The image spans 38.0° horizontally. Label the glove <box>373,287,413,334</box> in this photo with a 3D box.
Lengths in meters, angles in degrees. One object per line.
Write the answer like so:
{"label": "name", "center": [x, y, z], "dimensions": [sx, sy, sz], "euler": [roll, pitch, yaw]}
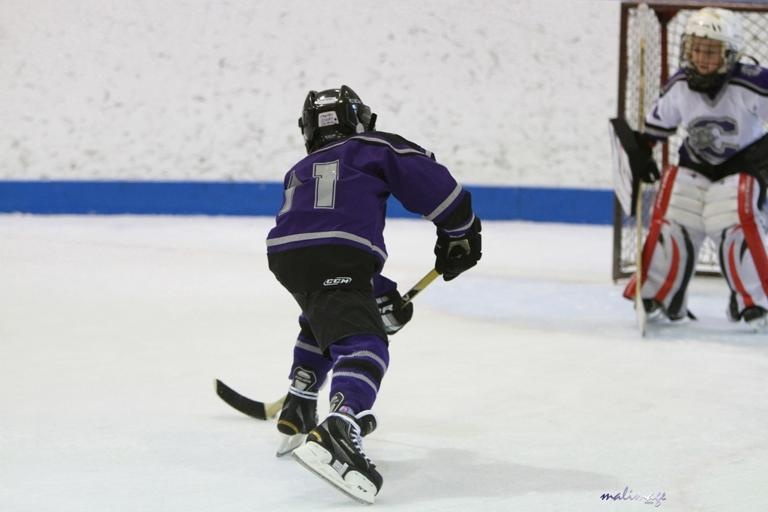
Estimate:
{"label": "glove", "center": [0.057, 0.260, 5.280], "dimensions": [0.177, 0.206, 0.081], "euler": [22, 14, 18]}

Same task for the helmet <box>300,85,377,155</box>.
{"label": "helmet", "center": [-0.236, -0.648, 5.419], "dimensions": [0.382, 0.305, 0.311], "euler": [-25, 16, -39]}

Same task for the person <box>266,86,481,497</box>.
{"label": "person", "center": [-0.071, 0.124, 5.101], "dimensions": [0.904, 1.264, 0.619], "euler": [-3, -2, -6]}

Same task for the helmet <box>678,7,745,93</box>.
{"label": "helmet", "center": [1.830, -1.147, 6.252], "dimensions": [0.327, 0.416, 0.205], "euler": [-3, -2, 13]}
